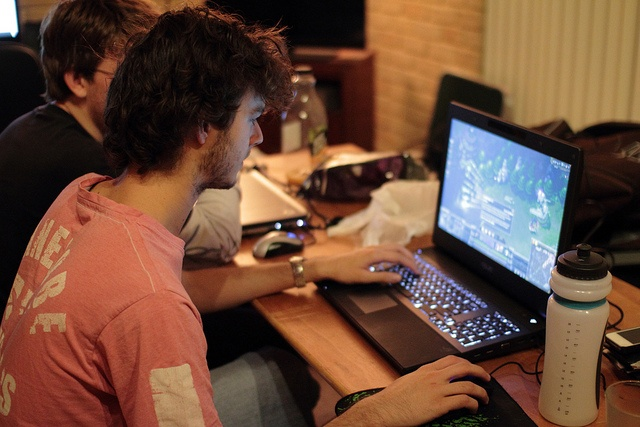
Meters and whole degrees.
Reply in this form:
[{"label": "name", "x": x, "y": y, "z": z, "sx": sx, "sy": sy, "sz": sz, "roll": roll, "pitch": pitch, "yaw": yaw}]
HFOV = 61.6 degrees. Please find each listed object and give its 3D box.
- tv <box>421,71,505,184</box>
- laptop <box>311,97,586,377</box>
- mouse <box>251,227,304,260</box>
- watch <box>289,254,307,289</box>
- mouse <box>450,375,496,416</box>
[{"label": "tv", "x": 0.662, "y": -0.545, "z": 2.663, "sx": 0.317, "sy": 0.295, "sz": 0.350, "roll": -35, "pitch": 54, "yaw": -26}, {"label": "laptop", "x": 0.308, "y": 0.033, "z": 1.466, "sx": 0.599, "sy": 0.488, "sz": 0.667, "roll": -9, "pitch": 21, "yaw": -2}, {"label": "mouse", "x": -0.140, "y": 0.106, "z": 1.785, "sx": 0.151, "sy": 0.054, "sz": 0.081, "roll": -12, "pitch": 26, "yaw": -21}, {"label": "watch", "x": -0.066, "y": 0.178, "z": 1.631, "sx": 0.059, "sy": 0.097, "sz": 0.098, "roll": -9, "pitch": 9, "yaw": -6}, {"label": "mouse", "x": 0.344, "y": 0.402, "z": 1.216, "sx": 0.109, "sy": 0.064, "sz": 0.108, "roll": -3, "pitch": 24, "yaw": 11}]
